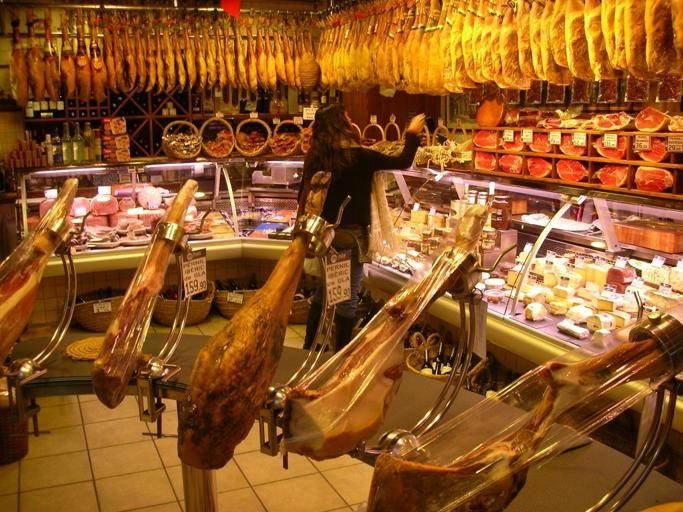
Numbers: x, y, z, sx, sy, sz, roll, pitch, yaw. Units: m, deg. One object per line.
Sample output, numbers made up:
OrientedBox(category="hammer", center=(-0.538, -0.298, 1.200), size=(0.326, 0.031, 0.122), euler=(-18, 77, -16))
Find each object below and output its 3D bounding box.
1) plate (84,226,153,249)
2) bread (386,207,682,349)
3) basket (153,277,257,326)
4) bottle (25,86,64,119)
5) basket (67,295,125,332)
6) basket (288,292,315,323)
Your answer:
OrientedBox(category="plate", center=(-2.189, -0.180, 4.867), size=(0.597, 0.170, 0.233), euler=(-8, 22, -19))
OrientedBox(category="bread", center=(1.116, -0.182, 2.707), size=(0.878, 0.316, 1.292), euler=(-27, 39, -36))
OrientedBox(category="basket", center=(-1.452, 0.482, 5.178), size=(0.748, 0.374, 0.629), euler=(0, 5, -8))
OrientedBox(category="bottle", center=(-4.269, -2.144, 7.134), size=(0.503, 0.288, 0.379), euler=(-10, 23, -25))
OrientedBox(category="basket", center=(-1.938, 0.459, 3.889), size=(0.547, 0.220, 0.399), euler=(1, 7, 9))
OrientedBox(category="basket", center=(-0.430, 0.554, 5.268), size=(0.263, 0.186, 0.419), euler=(-2, 12, -9))
